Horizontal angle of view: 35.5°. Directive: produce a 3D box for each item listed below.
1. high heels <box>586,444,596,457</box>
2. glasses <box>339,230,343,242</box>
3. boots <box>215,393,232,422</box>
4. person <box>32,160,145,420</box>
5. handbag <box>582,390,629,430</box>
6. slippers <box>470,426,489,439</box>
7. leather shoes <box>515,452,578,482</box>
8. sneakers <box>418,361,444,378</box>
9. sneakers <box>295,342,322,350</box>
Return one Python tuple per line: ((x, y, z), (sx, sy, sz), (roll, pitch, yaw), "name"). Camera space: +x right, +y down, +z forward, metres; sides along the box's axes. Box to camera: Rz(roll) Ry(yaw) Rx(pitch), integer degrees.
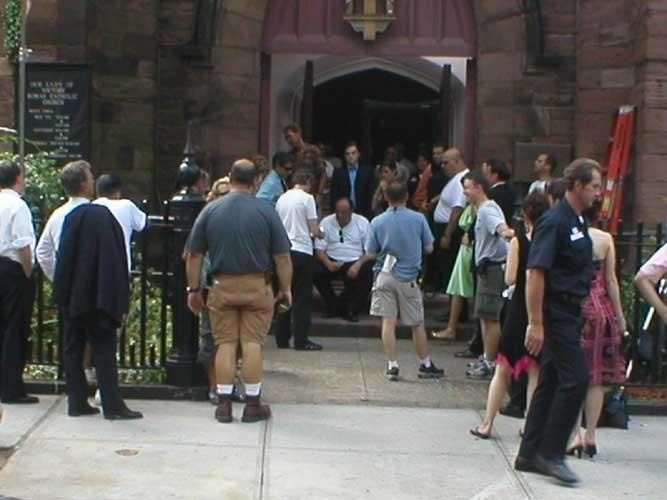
((2.273, 1.785, 9.260), (0.093, 0.099, 0.115), (-1, -6, -2), "high heels")
((0.090, -0.168, 13.110), (0.072, 0.122, 0.032), (-11, -11, 29), "glasses")
((-1.033, 1.490, 9.806), (0.130, 0.274, 0.291), (0, 7, -9), "boots")
((-2.289, 0.385, 9.829), (0.665, 2.331, 1.076), (-5, 15, -29), "person")
((2.664, 1.534, 9.920), (0.352, 0.447, 0.178), (0, -31, 9), "handbag")
((1.336, 1.684, 9.661), (0.073, 0.050, 0.168), (19, 4, -25), "slippers")
((1.804, 1.832, 8.915), (0.520, 0.215, 0.190), (10, -3, 23), "leather shoes")
((1.040, 1.306, 11.409), (0.319, 0.191, 0.128), (-3, 6, -19), "sneakers")
((-0.289, 1.130, 12.265), (0.321, 0.126, 0.116), (-3, 0, 3), "sneakers")
